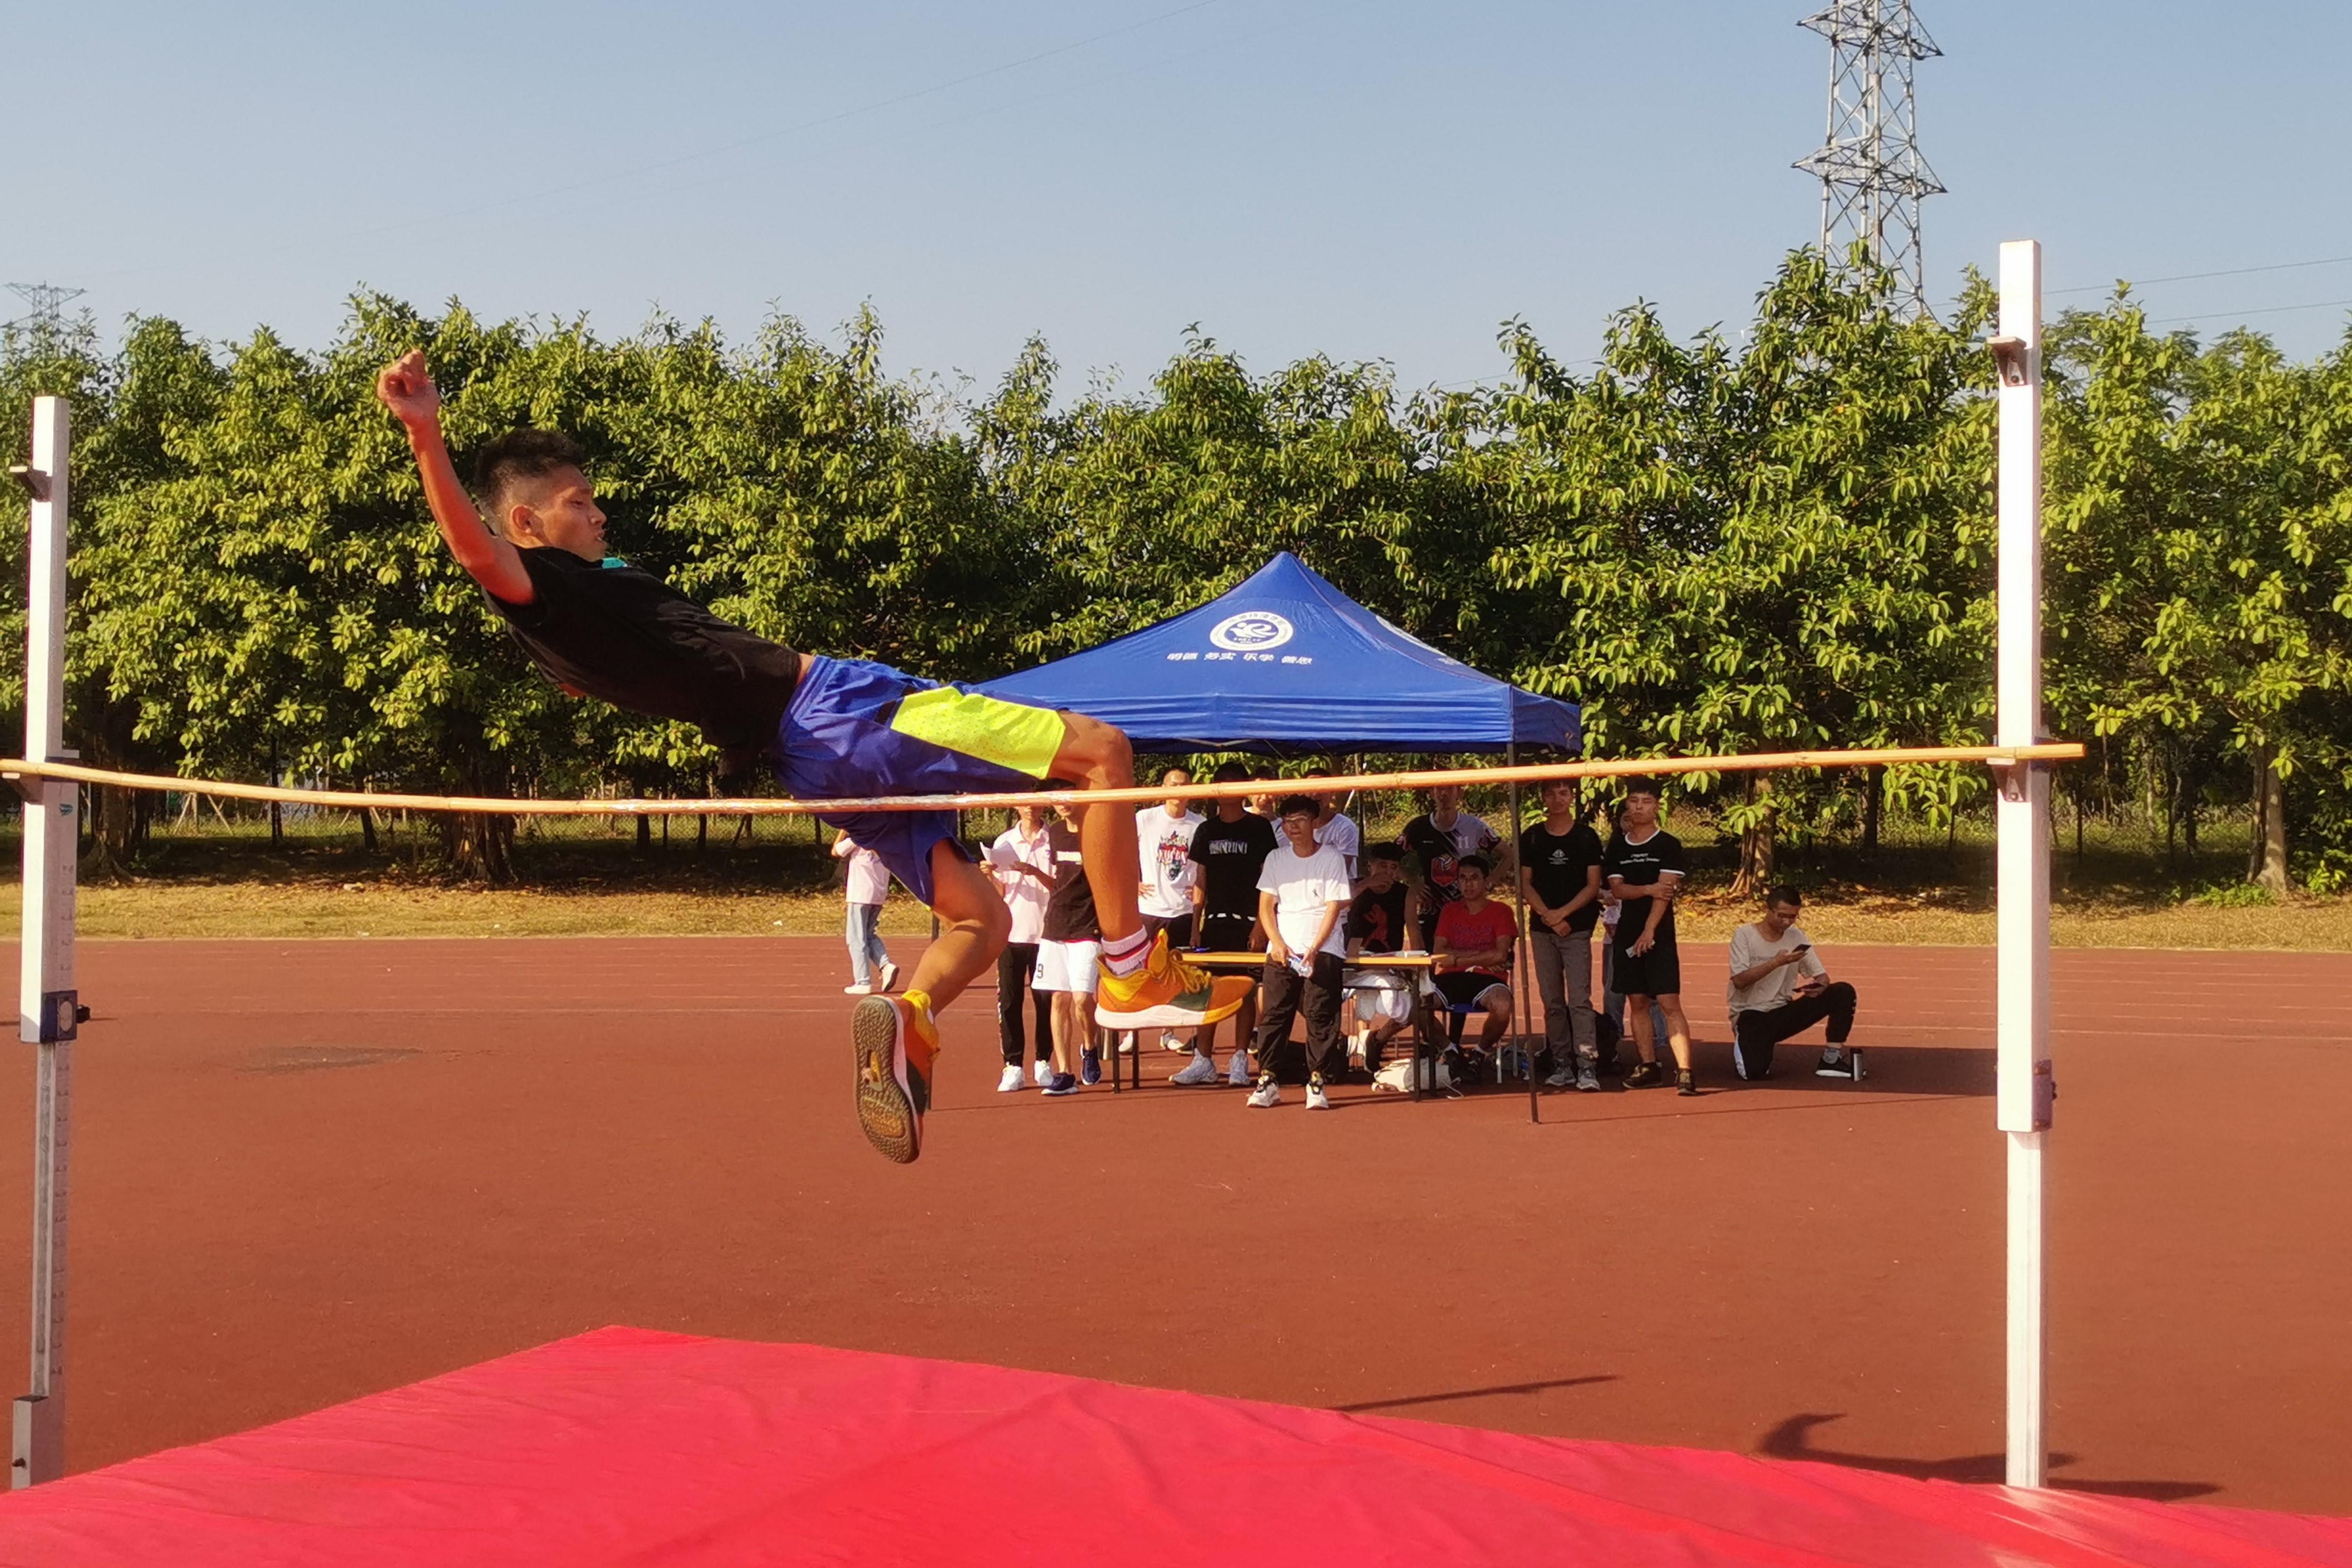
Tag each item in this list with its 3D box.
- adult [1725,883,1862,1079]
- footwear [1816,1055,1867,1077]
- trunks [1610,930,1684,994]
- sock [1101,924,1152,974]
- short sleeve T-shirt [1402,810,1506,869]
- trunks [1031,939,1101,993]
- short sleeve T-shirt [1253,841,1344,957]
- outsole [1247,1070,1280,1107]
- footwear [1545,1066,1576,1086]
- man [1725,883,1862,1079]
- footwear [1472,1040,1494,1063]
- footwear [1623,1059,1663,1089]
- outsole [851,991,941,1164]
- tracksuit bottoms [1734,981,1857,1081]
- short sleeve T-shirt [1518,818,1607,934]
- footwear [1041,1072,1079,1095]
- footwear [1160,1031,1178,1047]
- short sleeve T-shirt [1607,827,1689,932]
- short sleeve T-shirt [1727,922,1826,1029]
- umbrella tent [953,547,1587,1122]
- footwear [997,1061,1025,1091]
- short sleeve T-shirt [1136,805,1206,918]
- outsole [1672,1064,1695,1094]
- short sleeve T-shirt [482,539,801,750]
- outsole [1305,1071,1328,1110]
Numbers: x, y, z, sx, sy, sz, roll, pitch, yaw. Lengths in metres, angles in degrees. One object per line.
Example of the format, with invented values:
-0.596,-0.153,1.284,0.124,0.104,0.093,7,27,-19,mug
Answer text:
4.182,1.366,20.075,0.835,1.195,0.797,-14,15,-32,adult
4.179,1.758,18.487,0.389,0.181,0.137,-3,-4,17,footwear
2.897,1.155,18.286,0.507,0.403,0.300,-5,-11,27,trunks
-0.219,0.765,13.570,0.170,0.175,0.234,-1,-1,-25,sock
1.782,0.366,19.204,0.391,0.313,0.133,-2,-24,10,short sleeve T-shirt
-0.653,1.107,18.054,0.360,0.227,0.353,-3,38,12,trunks
0.751,0.690,17.647,0.572,0.678,0.371,-1,13,22,short sleeve T-shirt
0.525,1.857,17.871,0.102,0.136,0.275,-2,-5,19,outsole
2.406,1.806,18.310,0.233,0.130,0.087,0,-9,-35,footwear
4.182,1.366,20.075,0.835,1.195,0.797,-14,15,-32,man
1.968,1.706,18.912,0.111,0.117,0.157,2,0,-22,footwear
2.887,1.815,18.451,0.119,0.157,0.338,-8,-12,38,footwear
-1.264,1.259,13.064,0.287,0.844,0.374,-10,-10,25,outsole
3.812,1.528,18.399,0.662,0.553,0.544,0,2,-3,tracksuit bottoms
2.327,0.569,17.948,0.571,0.769,0.391,-2,-11,9,short sleeve T-shirt
-0.703,1.839,18.233,0.102,0.122,0.261,-10,-15,42,footwear
-0.040,1.681,19.549,0.076,0.101,0.235,-1,0,16,footwear
2.821,0.612,17.999,0.455,0.682,0.546,0,-3,8,short sleeve T-shirt
3.757,1.134,18.419,0.609,0.703,0.566,-2,-13,-31,short sleeve T-shirt
0.741,0.398,18.620,3.634,1.575,3.674,-1,-8,24,umbrella tent
-1.019,1.826,18.359,0.096,0.116,0.260,-4,-9,10,footwear
-0.070,0.492,18.427,0.467,0.657,0.292,1,-3,8,short sleeve T-shirt
3.114,1.807,18.122,0.076,0.105,0.229,4,4,7,outsole
-2.397,-0.424,13.146,1.041,0.312,0.954,26,21,-18,short sleeve T-shirt
0.844,1.841,17.781,0.097,0.109,0.247,-1,23,1,outsole
